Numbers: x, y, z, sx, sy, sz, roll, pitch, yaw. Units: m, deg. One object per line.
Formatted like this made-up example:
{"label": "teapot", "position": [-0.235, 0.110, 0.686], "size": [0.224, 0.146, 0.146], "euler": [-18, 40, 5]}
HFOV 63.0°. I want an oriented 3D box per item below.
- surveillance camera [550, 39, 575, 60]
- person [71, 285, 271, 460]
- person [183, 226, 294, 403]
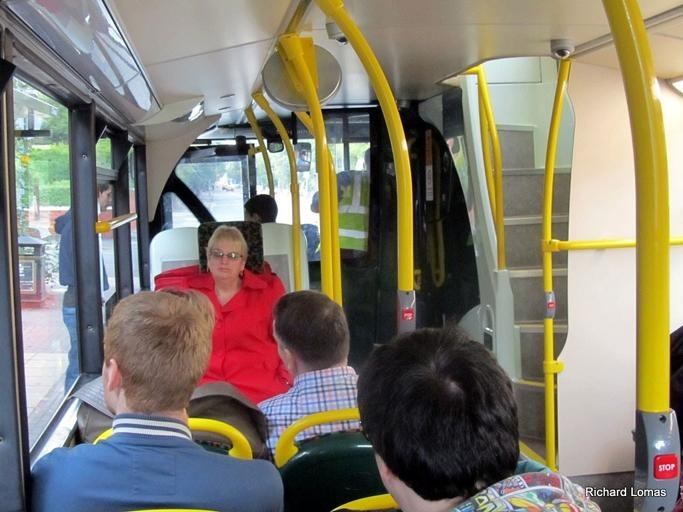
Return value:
{"label": "surveillance camera", "position": [1.338, -1.258, 3.390], "size": [0.114, 0.090, 0.116], "euler": [0, 3, -11]}
{"label": "person", "position": [-0.636, 0.518, 2.066], "size": [0.749, 0.284, 0.663], "euler": [7, 10, -8]}
{"label": "person", "position": [-0.790, 0.449, 3.797], "size": [0.817, 1.265, 0.764], "euler": [-1, -7, -22]}
